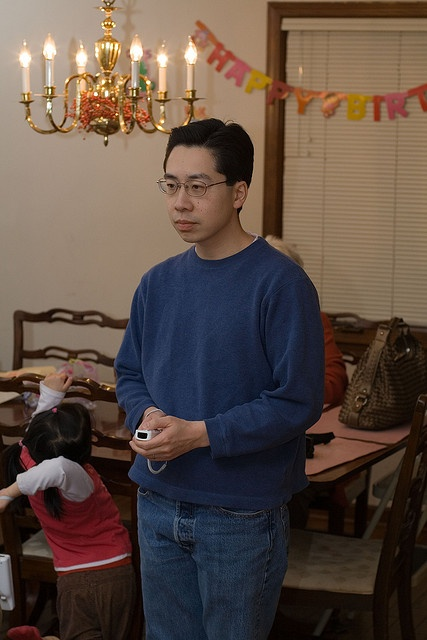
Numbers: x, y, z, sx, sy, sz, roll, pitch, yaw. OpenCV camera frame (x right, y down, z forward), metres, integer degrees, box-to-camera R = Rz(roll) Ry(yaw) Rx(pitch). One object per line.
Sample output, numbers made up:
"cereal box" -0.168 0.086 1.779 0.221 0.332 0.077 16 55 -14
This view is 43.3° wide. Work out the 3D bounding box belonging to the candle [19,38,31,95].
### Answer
"candle" -0.733 -0.966 2.096 0.028 0.206 0.136 -2 10 -19
